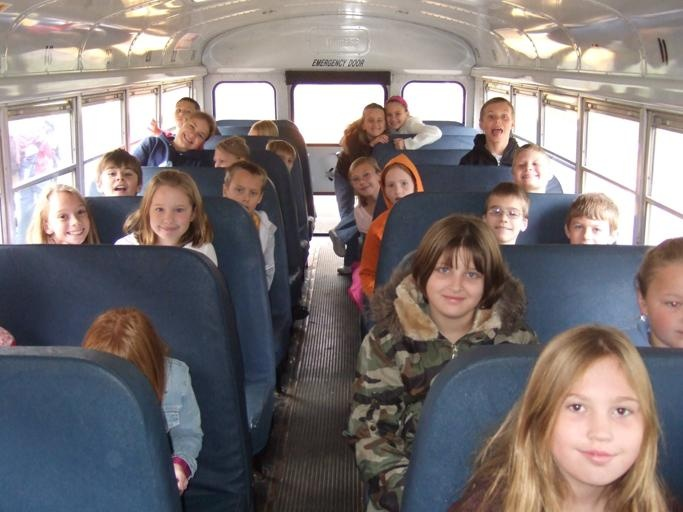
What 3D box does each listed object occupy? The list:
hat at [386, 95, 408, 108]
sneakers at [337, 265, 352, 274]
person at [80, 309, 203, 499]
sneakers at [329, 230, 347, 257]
[{"bbox_3d":[0.706,-1.922,7.671,0.212,0.097,0.235,2,16,2],"label":"hat"},{"bbox_3d":[0.030,0.154,6.686,0.074,0.064,0.163,4,-2,-43],"label":"sneakers"},{"bbox_3d":[-0.665,0.557,2.261,0.320,0.753,0.512,3,4,24],"label":"person"},{"bbox_3d":[-0.042,-0.130,6.585,0.149,0.302,0.140,-29,-11,34],"label":"sneakers"}]
